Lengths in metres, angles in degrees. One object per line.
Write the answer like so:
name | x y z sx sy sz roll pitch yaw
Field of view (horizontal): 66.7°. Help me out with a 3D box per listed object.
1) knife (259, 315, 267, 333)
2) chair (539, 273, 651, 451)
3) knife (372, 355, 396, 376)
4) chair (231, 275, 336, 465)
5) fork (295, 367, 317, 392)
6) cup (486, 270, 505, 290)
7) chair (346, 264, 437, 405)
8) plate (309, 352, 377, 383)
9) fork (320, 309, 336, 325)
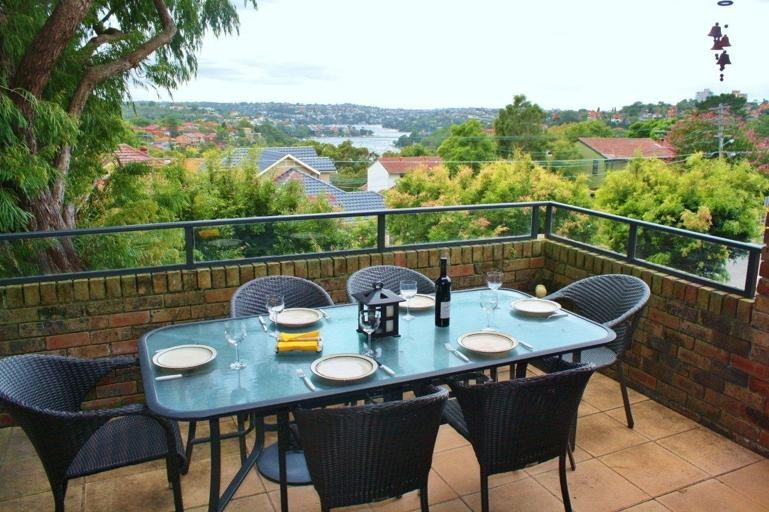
knife | -0.877 0.485 4.158 0.040 0.037 0.215 -4 21 -17
chair | 1.608 0.791 4.808 0.998 1.157 0.920 -2 12 -6
knife | -0.020 0.687 3.659 0.058 0.015 0.284 -4 12 -21
chair | -0.875 0.771 4.670 1.199 1.263 0.975 -3 11 -20
fork | -0.480 0.755 3.540 0.056 0.034 0.295 -14 20 -19
cup | 0.802 0.178 4.346 0.144 0.152 0.141 0 6 0
chair | 0.033 0.600 4.994 0.994 0.729 0.847 -7 17 -21
plate | -0.256 0.694 3.622 0.414 0.080 0.266 0 15 -3
fork | -0.424 0.450 4.247 0.056 0.028 0.203 -1 11 -14
